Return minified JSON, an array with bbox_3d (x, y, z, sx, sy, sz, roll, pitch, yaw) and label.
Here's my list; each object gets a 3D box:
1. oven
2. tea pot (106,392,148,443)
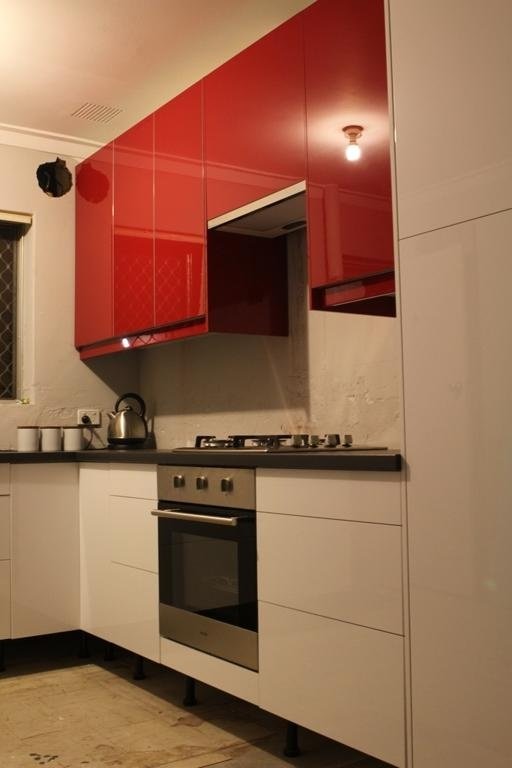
[{"bbox_3d":[-0.089,0.590,2.053,0.444,0.454,0.333,-4,-4,43],"label":"oven"},{"bbox_3d":[-0.635,0.178,3.169,0.190,0.300,0.196,-4,-17,-1],"label":"tea pot"}]
